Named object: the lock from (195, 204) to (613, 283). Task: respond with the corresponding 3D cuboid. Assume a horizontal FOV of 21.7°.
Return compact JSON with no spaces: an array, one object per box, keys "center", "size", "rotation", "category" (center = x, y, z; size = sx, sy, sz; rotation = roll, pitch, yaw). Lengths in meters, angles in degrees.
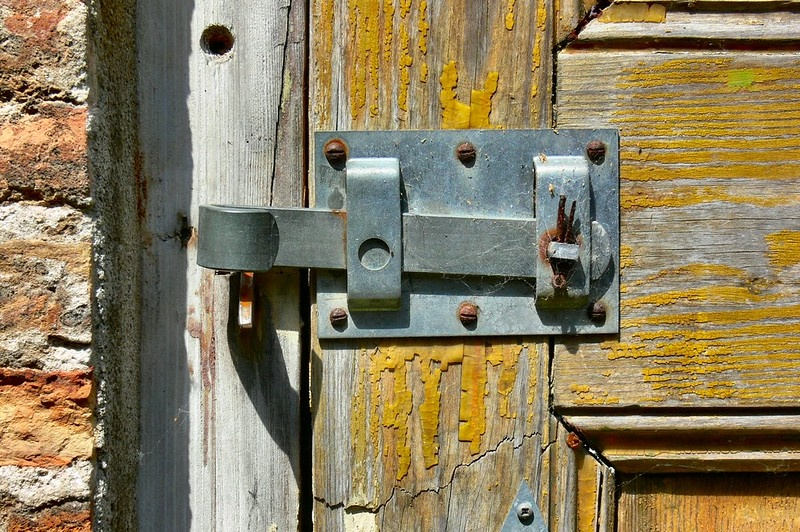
[{"center":[0.016,-0.046,3.793],"size":[0.754,0.118,0.057],"rotation":[1,4,-3],"category":"lock"}]
